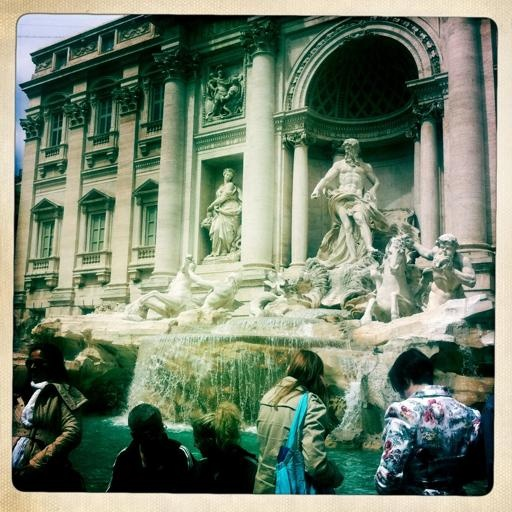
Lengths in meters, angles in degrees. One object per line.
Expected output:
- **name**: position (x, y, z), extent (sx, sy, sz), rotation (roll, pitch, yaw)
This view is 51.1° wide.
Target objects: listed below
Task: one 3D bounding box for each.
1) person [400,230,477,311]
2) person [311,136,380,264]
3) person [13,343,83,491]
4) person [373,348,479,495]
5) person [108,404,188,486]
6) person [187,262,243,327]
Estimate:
- **person**: position (3.381, 0.301, 9.873), extent (0.756, 1.396, 1.262), rotation (1, -9, -9)
- **person**: position (2.086, -1.264, 12.041), extent (1.428, 2.932, 0.771), rotation (-3, -9, 12)
- **person**: position (-1.884, 1.528, 4.906), extent (0.590, 1.423, 1.141), rotation (3, -10, -23)
- **person**: position (1.266, 1.253, 3.994), extent (0.835, 1.103, 0.359), rotation (4, -10, -30)
- **person**: position (-0.805, 1.540, 4.219), extent (0.602, 0.784, 0.721), rotation (1, -9, -14)
- **person**: position (-1.091, 0.898, 11.636), extent (1.314, 1.477, 0.752), rotation (-7, -30, 25)
